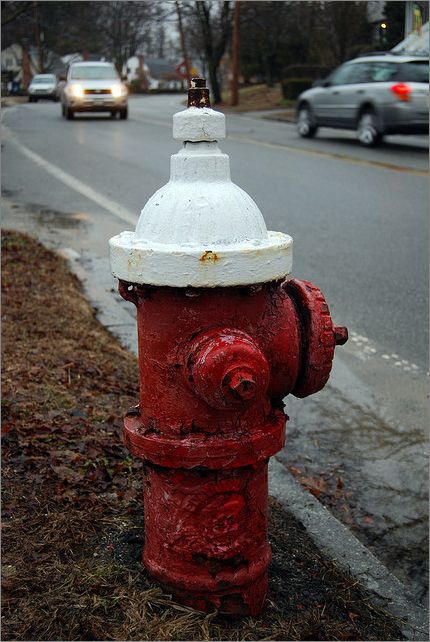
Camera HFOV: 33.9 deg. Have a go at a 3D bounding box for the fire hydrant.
[{"bbox_3d":[0.033,0.129,2.264,0.709,1.750,0.589,-1,16,-9],"label":"fire hydrant"}]
